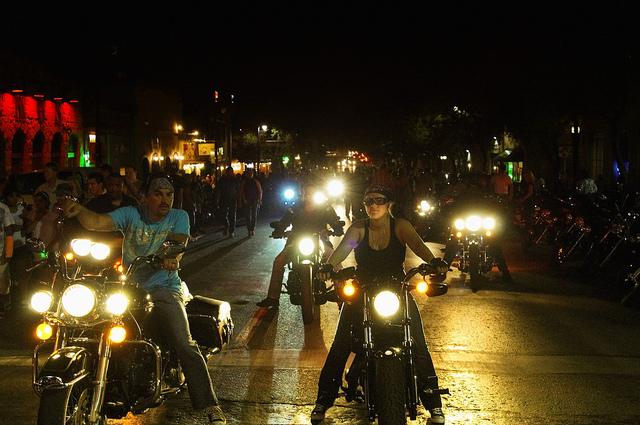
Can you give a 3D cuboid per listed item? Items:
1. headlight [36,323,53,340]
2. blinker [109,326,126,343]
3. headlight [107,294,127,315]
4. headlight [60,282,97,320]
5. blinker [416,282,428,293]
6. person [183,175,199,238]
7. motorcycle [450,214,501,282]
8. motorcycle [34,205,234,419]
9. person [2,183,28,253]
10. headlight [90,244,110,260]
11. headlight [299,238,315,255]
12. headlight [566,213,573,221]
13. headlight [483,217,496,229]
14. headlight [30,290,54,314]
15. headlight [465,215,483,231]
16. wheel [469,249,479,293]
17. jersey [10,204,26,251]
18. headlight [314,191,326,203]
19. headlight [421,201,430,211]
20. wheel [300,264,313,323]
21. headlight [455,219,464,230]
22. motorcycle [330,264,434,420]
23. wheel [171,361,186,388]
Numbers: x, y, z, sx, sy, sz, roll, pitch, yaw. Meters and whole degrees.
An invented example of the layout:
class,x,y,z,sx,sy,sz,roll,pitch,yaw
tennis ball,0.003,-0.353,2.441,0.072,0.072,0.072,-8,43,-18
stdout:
class,x,y,z,sx,sy,sz,roll,pitch,yaw
headlight,-2.620,1.120,5.178,0.196,0.161,0.086,0,6,9
blinker,-1.878,1.137,5.086,0.133,0.139,0.074,3,-3,-11
headlight,-1.857,0.843,5.029,0.169,0.206,0.175,1,-3,6
headlight,-2.170,0.788,4.934,0.305,0.304,0.076,0,6,8
blinker,1.019,0.752,5.492,0.101,0.106,0.024,3,-2,-16
person,-4.228,-0.215,17.951,0.769,0.814,2.500,-1,-27,-9
motorcycle,3.543,0.813,12.581,1.030,1.533,1.613,1,6,14
motorcycle,-1.945,1.135,5.693,1.657,2.475,1.643,-2,6,-15
person,-6.177,0.116,11.171,0.409,1.292,1.229,-4,6,-29
headlight,-2.151,0.385,5.367,0.144,0.126,0.148,1,-8,-1
headlight,-0.227,0.575,9.257,0.242,0.251,0.135,4,-4,-7
headlight,7.354,0.136,16.214,0.145,0.152,0.045,-15,-24,31
headlight,3.919,0.250,12.727,0.355,0.289,0.110,-5,7,-37
headlight,-2.512,0.811,4.964,0.193,0.200,0.045,-18,-1,-6
headlight,3.477,0.236,12.312,0.321,0.337,0.181,4,-1,3
wheel,3.312,1.250,11.830,0.211,0.865,0.845,0,-3,9
jersey,-6.101,0.275,11.107,0.230,0.858,0.608,-4,6,-29
headlight,-0.015,-0.286,10.297,0.042,0.188,0.184,-4,4,40
headlight,3.917,-0.255,20.483,0.234,0.332,0.472,-3,6,-28
wheel,-0.229,1.365,9.200,0.210,1.023,0.214,0,6,0
headlight,3.292,0.278,12.978,0.189,0.234,0.190,-3,13,-17
motorcycle,0.658,1.453,5.520,0.873,1.783,1.081,-3,6,-20
wheel,-1.483,1.701,5.776,0.060,0.292,0.159,4,7,36
